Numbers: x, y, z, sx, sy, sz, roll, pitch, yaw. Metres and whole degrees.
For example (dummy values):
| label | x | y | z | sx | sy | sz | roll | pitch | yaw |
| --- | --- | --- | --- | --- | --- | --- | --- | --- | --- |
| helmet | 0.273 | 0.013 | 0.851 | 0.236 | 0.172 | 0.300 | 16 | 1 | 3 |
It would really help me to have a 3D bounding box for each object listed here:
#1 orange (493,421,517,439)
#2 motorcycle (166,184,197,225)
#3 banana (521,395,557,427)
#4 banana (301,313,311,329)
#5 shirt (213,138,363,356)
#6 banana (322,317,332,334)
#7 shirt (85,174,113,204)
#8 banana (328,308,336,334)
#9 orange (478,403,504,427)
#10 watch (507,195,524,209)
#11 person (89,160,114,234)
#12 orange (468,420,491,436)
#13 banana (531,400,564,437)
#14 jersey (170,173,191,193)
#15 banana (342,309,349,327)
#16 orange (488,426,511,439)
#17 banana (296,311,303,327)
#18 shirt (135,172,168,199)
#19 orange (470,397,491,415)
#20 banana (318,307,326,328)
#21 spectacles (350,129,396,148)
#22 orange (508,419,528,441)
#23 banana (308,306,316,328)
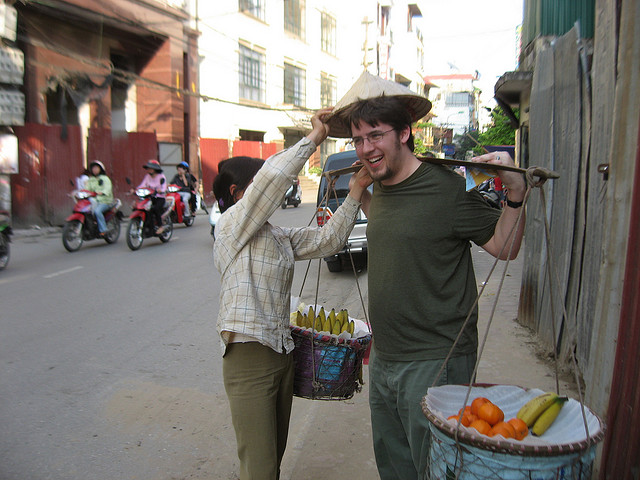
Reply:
| label | x | y | z | sx | sy | sz | roll | pitch | yaw |
| --- | --- | --- | --- | --- | --- | --- | --- | --- | --- |
| orange | 0.809 | 0.829 | 2.471 | 0.055 | 0.068 | 0.060 | 10 | -12 | -12 |
| motorcycle | -3.267 | -0.776 | 13.434 | 0.390 | 1.088 | 1.614 | 0 | 11 | 0 |
| banana | 1.014 | 0.793 | 2.599 | 0.150 | 0.027 | 0.053 | -40 | -20 | -16 |
| banana | -0.082 | 0.490 | 3.369 | 0.047 | 0.146 | 0.054 | 1 | 8 | 3 |
| shirt | -0.187 | 0.082 | 3.007 | 0.703 | 1.137 | 0.592 | -1 | -21 | 14 |
| banana | 0.038 | 0.525 | 3.500 | 0.027 | 0.111 | 0.034 | -2 | -29 | 8 |
| shirt | -4.073 | -0.970 | 10.723 | 0.513 | 0.781 | 0.482 | 0 | 4 | -9 |
| banana | 0.080 | 0.496 | 3.514 | 0.028 | 0.130 | 0.042 | 3 | -12 | 8 |
| orange | 0.763 | 0.777 | 2.524 | 0.081 | 0.101 | 0.091 | 4 | -18 | 29 |
| watch | 0.965 | -0.187 | 2.778 | 0.064 | 0.030 | 0.066 | -4 | 0 | 2 |
| person | -4.154 | -0.780 | 10.608 | 0.438 | 1.520 | 0.696 | 1 | 3 | 7 |
| orange | 0.709 | 0.820 | 2.472 | 0.053 | 0.064 | 0.058 | -1 | 14 | -27 |
| banana | 1.040 | 0.817 | 2.582 | 0.056 | 0.118 | 0.335 | 27 | 17 | 21 |
| jersey | -3.338 | -1.352 | 13.586 | 0.464 | 0.449 | 0.494 | -2 | 11 | -10 |
| banana | 0.166 | 0.490 | 3.569 | 0.026 | 0.101 | 0.025 | -2 | -12 | 13 |
| orange | 0.774 | 0.824 | 2.430 | 0.051 | 0.070 | 0.054 | -16 | -21 | -9 |
| banana | -0.122 | 0.478 | 3.397 | 0.039 | 0.109 | 0.044 | -6 | -23 | -6 |
| shirt | -3.427 | -1.115 | 11.631 | 0.515 | 0.489 | 0.869 | -4 | 12 | -19 |
| orange | 0.728 | 0.761 | 2.570 | 0.063 | 0.075 | 0.068 | 2 | -12 | 34 |
| banana | 0.017 | 0.491 | 3.587 | 0.037 | 0.126 | 0.030 | -2 | -8 | -30 |
| spectacles | 0.261 | -0.534 | 2.966 | 0.270 | 0.095 | 0.114 | 9 | 14 | 38 |
| orange | 0.878 | 0.824 | 2.507 | 0.067 | 0.076 | 0.068 | -30 | 21 | -18 |
| banana | -0.054 | 0.473 | 3.519 | 0.025 | 0.108 | 0.031 | 3 | 0 | 8 |
